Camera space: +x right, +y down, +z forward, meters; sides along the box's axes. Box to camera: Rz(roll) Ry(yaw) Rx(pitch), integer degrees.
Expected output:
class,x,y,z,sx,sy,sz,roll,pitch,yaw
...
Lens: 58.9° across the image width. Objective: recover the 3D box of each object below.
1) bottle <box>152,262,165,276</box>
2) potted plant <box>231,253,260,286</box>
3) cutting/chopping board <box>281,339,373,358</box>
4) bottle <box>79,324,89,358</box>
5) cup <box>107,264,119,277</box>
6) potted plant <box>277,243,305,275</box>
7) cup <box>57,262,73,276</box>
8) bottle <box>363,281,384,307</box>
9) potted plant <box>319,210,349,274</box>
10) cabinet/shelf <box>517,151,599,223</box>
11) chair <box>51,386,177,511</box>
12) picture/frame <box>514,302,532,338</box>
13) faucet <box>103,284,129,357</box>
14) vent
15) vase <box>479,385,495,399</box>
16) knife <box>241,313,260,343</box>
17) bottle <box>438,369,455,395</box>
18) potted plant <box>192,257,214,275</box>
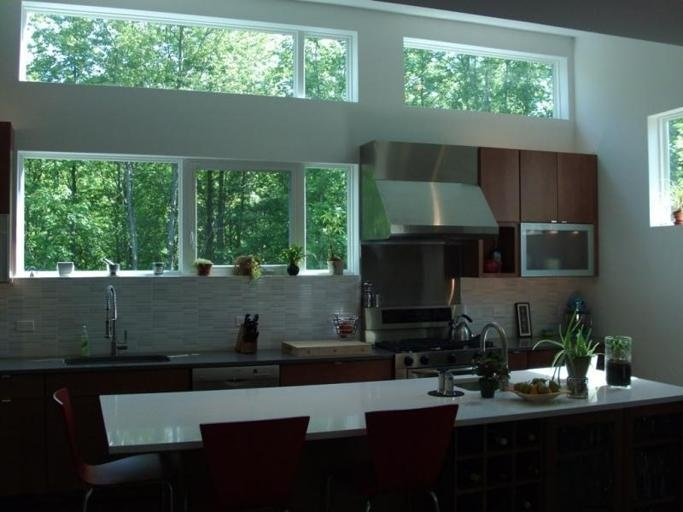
class,x,y,z,sx,sy,sz,roll,pitch,yaw
bottle,-1.683,0.124,5.581,0.111,0.088,0.100,-3,5,-45
potted plant,-0.906,0.114,5.725,0.325,0.243,0.134,-1,3,21
cutting/chopping board,-0.133,0.814,5.460,0.772,0.111,0.411,-2,3,-15
bottle,-2.245,0.735,5.299,0.080,0.267,0.154,-3,3,-24
cup,-2.075,0.125,5.471,0.107,0.115,0.103,2,2,0
potted plant,-0.463,0.026,5.826,0.288,0.305,0.258,0,0,11
cup,-2.460,0.111,5.417,0.134,0.125,0.106,-3,3,-31
bottle,0.293,0.388,5.941,0.260,0.262,0.142,3,-7,-33
potted plant,-0.063,-0.147,6.013,0.271,0.634,0.241,-2,2,-10
cabinet/shelf,2.203,-0.711,6.276,0.746,0.631,0.282,0,-2,-18
chair,-1.306,1.154,3.496,0.824,0.673,0.511,-2,2,2
picture/frame,1.970,0.670,6.457,0.223,0.356,0.195,-2,2,-13
faucet,-1.981,0.560,5.321,0.178,0.615,0.244,-2,2,-21
vent,0.838,-0.488,5.841,1.211,0.660,0.644,-2,3,-18
vase,0.922,0.862,3.860,0.084,0.096,0.088,2,4,8
knife,-0.817,0.643,5.420,0.136,0.248,0.186,-2,2,-17
bottle,0.683,0.829,3.955,0.084,0.147,0.135,-2,4,-29
potted plant,-1.293,0.096,5.695,0.172,0.159,0.169,-2,3,-13
